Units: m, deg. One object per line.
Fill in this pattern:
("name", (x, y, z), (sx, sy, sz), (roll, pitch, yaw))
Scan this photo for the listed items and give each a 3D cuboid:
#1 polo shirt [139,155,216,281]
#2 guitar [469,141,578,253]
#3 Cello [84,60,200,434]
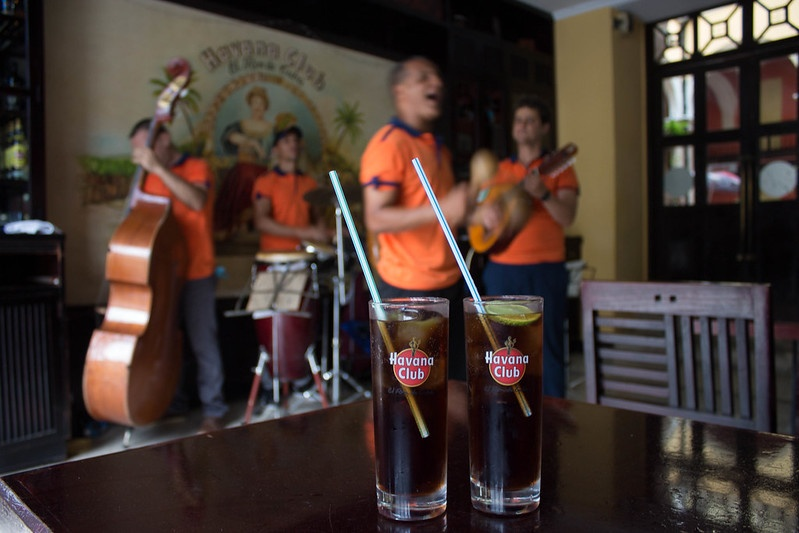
("polo shirt", (-1.169, -0.281, 3.912), (0.357, 0.637, 0.185), (11, 16, 43))
("guitar", (0.586, -0.312, 3.713), (0.113, 0.357, 0.736), (12, -49, -43))
("Cello", (-1.306, 0.022, 3.643), (0.382, 1.539, 0.571), (-1, 5, 11))
